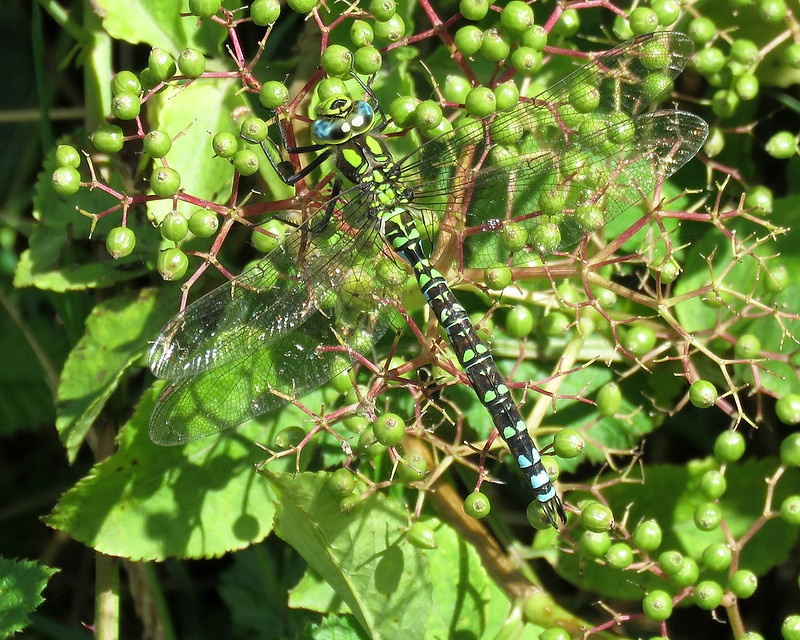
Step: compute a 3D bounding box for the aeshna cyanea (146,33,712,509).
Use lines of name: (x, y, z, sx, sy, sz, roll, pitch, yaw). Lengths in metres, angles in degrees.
aeshna cyanea: (0.131, -0.197, 3.847, 1.697, 0.806, 1.653, -24, 80, 0)
